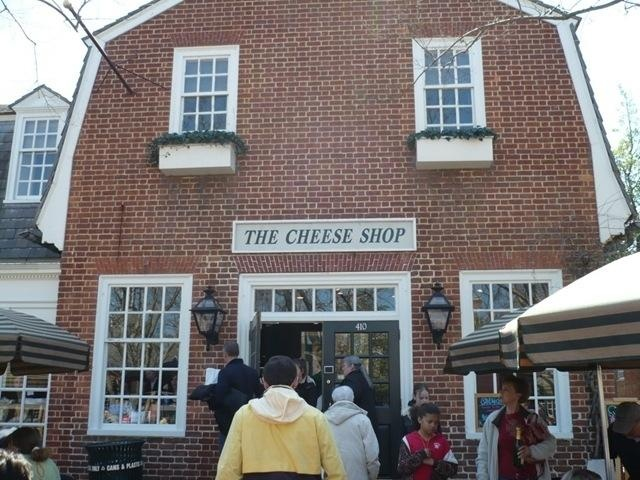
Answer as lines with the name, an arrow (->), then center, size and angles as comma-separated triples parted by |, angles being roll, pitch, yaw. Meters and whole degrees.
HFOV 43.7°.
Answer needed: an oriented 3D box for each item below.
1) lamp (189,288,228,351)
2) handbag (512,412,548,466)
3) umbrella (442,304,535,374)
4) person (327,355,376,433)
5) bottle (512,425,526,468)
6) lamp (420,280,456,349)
lamp -> -1.771, 1.214, 12.690 | 0.508, 1.060, 0.485 | -1, -12, 2
handbag -> 2.436, 2.295, 9.286 | 0.398, 0.525, 0.219 | 10, -3, 1
umbrella -> 1.929, 1.231, 9.078 | 0.824, 0.361, 0.834 | -11, -8, -22
person -> 0.543, 2.422, 11.448 | 0.509, 1.491, 0.553 | -6, -3, 29
bottle -> 2.300, 2.401, 9.259 | 0.114, 0.437, 0.152 | -4, -16, 11
lamp -> 1.840, 1.112, 12.549 | 0.496, 0.988, 0.524 | 0, 9, 9
